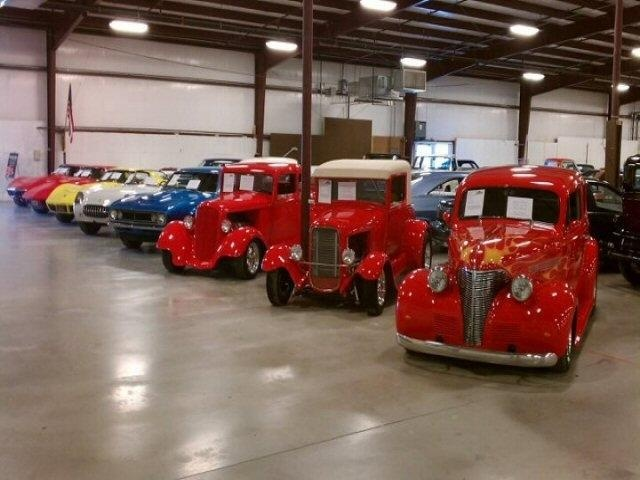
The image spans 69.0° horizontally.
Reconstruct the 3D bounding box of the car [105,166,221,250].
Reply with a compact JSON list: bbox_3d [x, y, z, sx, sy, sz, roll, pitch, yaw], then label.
[{"bbox_3d":[-3.219,-0.873,10.744,1.719,1.073,2.903,2,9,34],"label":"car"}]

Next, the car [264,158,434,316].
[{"bbox_3d":[0.295,-0.105,6.880,1.507,1.599,3.057,0,3,24],"label":"car"}]

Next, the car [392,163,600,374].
[{"bbox_3d":[2.379,-0.042,5.643,1.767,1.698,3.514,6,25,37],"label":"car"}]

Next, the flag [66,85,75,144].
[{"bbox_3d":[-10.088,-5.076,18.777,0.292,2.382,0.824,-3,9,-27],"label":"flag"}]
